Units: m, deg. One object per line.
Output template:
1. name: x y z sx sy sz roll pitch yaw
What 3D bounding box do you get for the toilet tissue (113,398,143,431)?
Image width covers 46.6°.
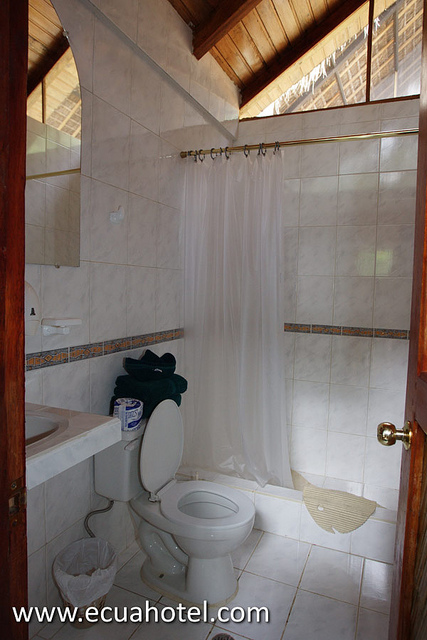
1. toilet tissue: -0.319 0.347 1.850 0.091 0.116 0.106 1 -5 -1

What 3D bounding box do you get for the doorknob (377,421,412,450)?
1. doorknob: 0.324 0.204 0.895 0.057 0.071 0.046 1 1 18

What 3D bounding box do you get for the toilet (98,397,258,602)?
1. toilet: -0.089 0.669 2.162 0.616 0.698 0.765 3 6 19
